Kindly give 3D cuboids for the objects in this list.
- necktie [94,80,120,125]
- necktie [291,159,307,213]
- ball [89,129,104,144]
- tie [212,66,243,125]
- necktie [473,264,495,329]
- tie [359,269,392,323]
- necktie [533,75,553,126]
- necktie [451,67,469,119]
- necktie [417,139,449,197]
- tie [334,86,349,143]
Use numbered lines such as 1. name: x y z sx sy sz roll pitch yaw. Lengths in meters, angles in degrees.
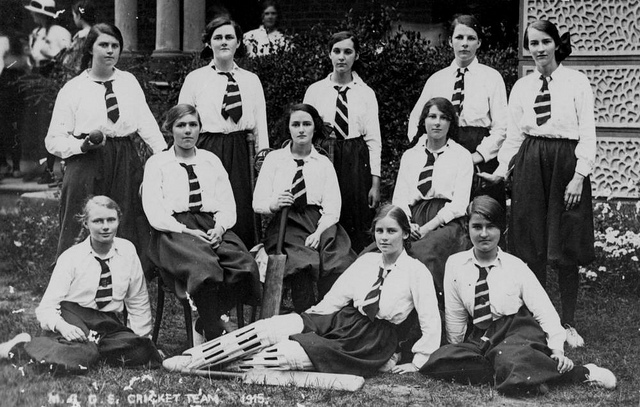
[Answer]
1. necktie: -1.999 -0.971 6.793 0.120 0.388 0.190 -8 14 -40
2. necktie: -0.200 -0.171 6.950 0.153 0.495 0.149 3 11 7
3. ball: -2.041 -0.614 6.554 0.116 0.123 0.177 0 10 -8
4. tie: -0.915 -1.057 7.121 0.299 0.684 0.054 -16 49 -26
5. necktie: 1.411 0.800 6.187 0.161 0.515 0.204 3 11 8
6. tie: 0.482 0.817 6.216 0.219 0.480 0.078 37 -7 7
7. necktie: 2.112 -0.979 6.780 0.172 0.460 0.175 7 12 25
8. necktie: 1.419 -1.138 7.314 0.156 0.502 0.203 3 11 11
9. necktie: 1.075 -0.330 6.889 0.264 0.472 0.209 3 11 8
10. tie: 0.215 -0.914 7.416 0.202 0.611 0.046 -4 13 -22
